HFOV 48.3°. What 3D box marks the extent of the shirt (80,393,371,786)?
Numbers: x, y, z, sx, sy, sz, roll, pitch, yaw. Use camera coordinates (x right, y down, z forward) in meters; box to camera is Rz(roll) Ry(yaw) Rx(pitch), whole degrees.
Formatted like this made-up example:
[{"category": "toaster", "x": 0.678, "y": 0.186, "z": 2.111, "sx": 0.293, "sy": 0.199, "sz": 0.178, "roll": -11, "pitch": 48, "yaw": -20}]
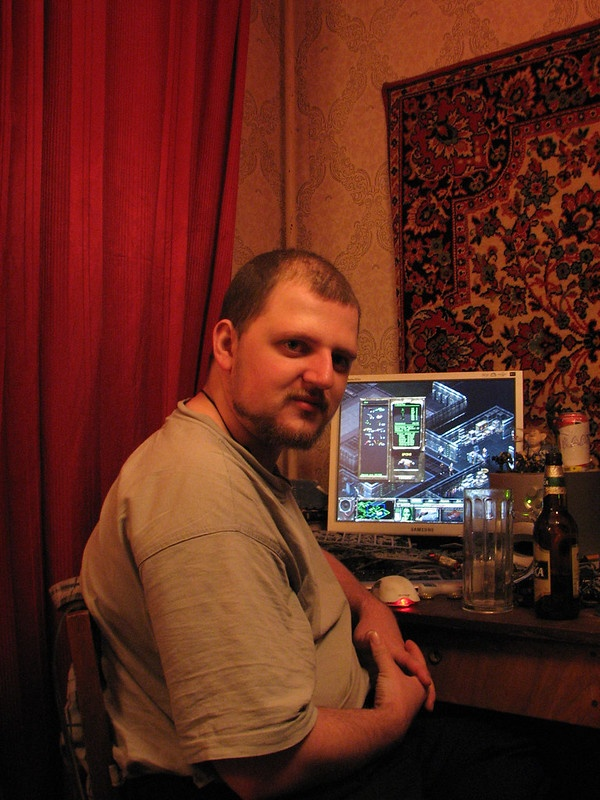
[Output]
[{"category": "shirt", "x": -0.103, "y": 0.231, "z": 0.815, "sx": 0.261, "sy": 0.351, "sz": 0.472, "roll": -7, "pitch": -3, "yaw": 4}]
